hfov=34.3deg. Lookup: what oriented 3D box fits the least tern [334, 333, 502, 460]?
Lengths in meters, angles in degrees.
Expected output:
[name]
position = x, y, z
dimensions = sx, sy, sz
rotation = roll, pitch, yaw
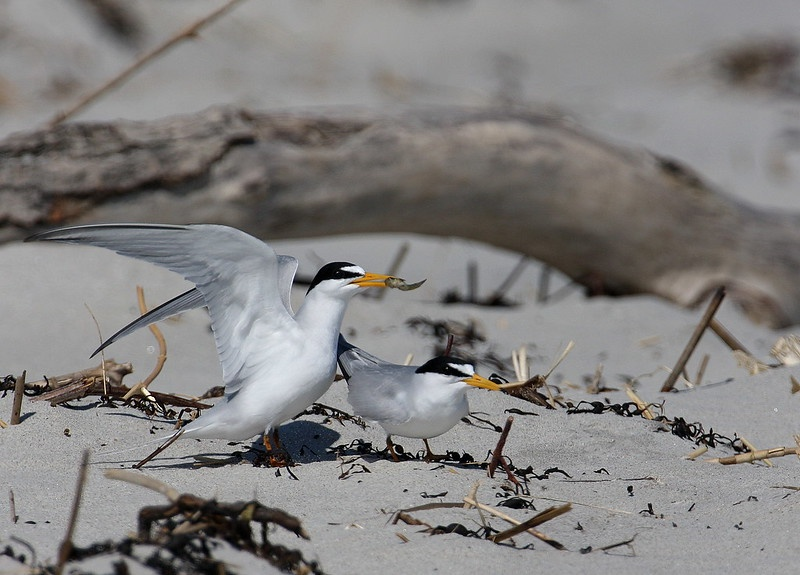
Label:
[least tern]
position = 0.090, 0.852, 10.350
dimensions = 1.569, 0.724, 0.654
rotation = 28, 25, 31
